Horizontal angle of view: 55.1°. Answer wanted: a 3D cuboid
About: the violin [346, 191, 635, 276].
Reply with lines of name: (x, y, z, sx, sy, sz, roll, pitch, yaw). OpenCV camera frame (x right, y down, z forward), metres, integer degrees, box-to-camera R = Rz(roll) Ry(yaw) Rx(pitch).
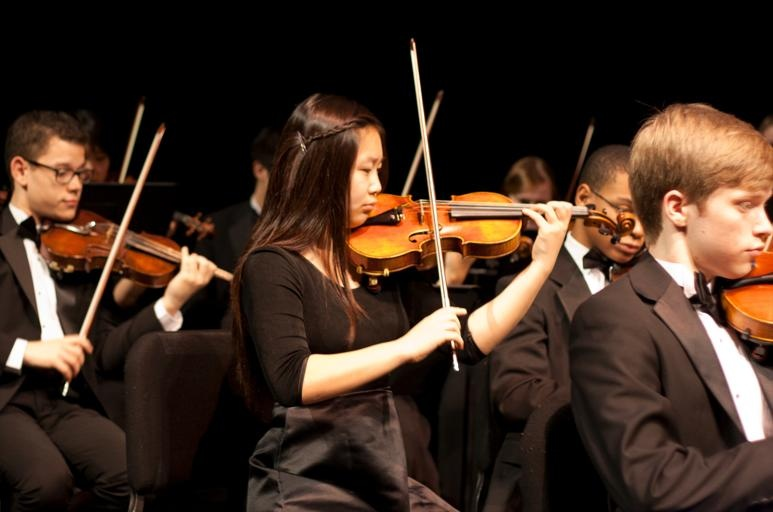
violin: (0.484, -0.110, 3.186, 1.291, 0.243, 0.445, -2, 26, -8)

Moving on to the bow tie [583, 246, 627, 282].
bow tie: (0.991, 0.060, 3.463, 0.219, 0.055, 0.115, 32, 40, -11)

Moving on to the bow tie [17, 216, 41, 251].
bow tie: (-1.600, -0.103, 3.355, 0.129, 0.117, 0.050, -6, 7, 7)

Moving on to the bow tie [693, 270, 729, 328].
bow tie: (1.090, 0.149, 2.478, 0.114, 0.183, 0.211, 11, 3, 29)

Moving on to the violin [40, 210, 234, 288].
violin: (-1.078, 0.022, 3.572, 0.982, 0.180, 0.341, 16, 30, -32)
